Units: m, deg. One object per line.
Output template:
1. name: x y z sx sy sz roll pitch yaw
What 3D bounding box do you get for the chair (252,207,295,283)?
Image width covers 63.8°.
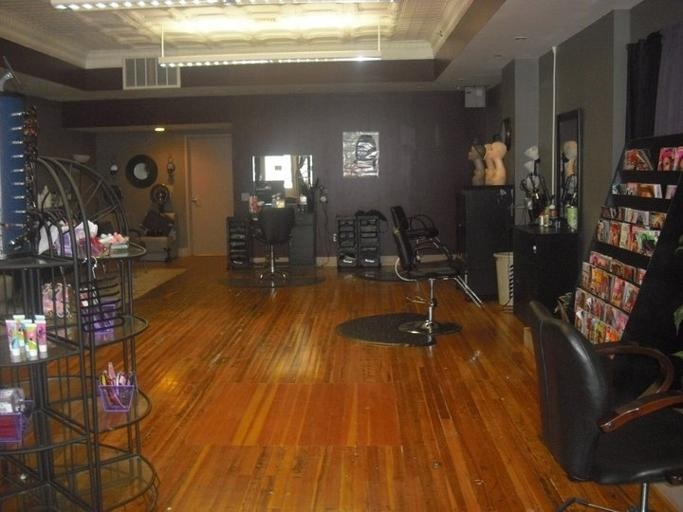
1. chair: -1.020 -0.224 8.539 0.570 1.138 1.696 -2 11 -7

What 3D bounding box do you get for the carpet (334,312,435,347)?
1. carpet: 0.436 0.738 5.671 0.943 0.039 1.191 -1 11 1

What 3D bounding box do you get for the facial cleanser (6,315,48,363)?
1. facial cleanser: -1.396 0.351 2.438 0.151 0.171 0.224 -8 12 -32

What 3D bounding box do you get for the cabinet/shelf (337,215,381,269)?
1. cabinet/shelf: 0.312 -0.258 9.286 0.781 0.999 0.331 -1 6 1

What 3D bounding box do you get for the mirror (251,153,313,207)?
1. mirror: -0.998 -1.305 9.508 0.977 0.903 0.045 0 0 -2
